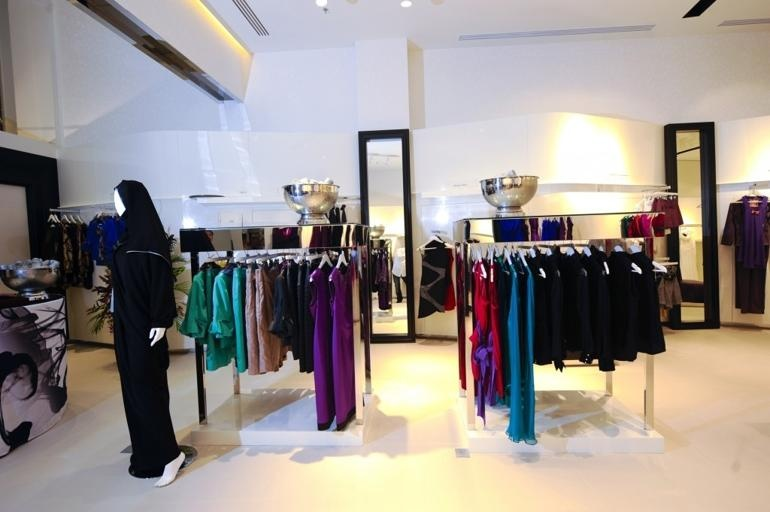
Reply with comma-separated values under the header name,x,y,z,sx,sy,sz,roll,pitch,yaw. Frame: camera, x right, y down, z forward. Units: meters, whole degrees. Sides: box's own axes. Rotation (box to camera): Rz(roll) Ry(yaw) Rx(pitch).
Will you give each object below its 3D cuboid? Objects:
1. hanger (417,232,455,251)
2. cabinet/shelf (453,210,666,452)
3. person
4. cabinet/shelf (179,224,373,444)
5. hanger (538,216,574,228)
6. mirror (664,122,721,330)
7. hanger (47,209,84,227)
name,x,y,z,sx,sy,sz,roll,pitch,yaw
hanger,0.756,-0.234,7.601,0.426,0.227,0.774,-2,7,8
cabinet/shelf,2.122,0.799,6.520,2.407,2.835,2.394,-1,-1,2
person,-2.427,0.764,5.319,0.630,3.056,0.468,-4,6,-12
cabinet/shelf,-1.143,0.837,6.618,2.357,2.734,2.203,0,0,-2
hanger,1.766,-0.369,5.423,0.339,0.096,0.026,-3,6,-2
mirror,4.706,-0.469,8.061,0.757,3.132,0.437,-1,6,12
hanger,-4.854,-0.594,8.002,0.445,0.230,0.270,-3,6,-5
